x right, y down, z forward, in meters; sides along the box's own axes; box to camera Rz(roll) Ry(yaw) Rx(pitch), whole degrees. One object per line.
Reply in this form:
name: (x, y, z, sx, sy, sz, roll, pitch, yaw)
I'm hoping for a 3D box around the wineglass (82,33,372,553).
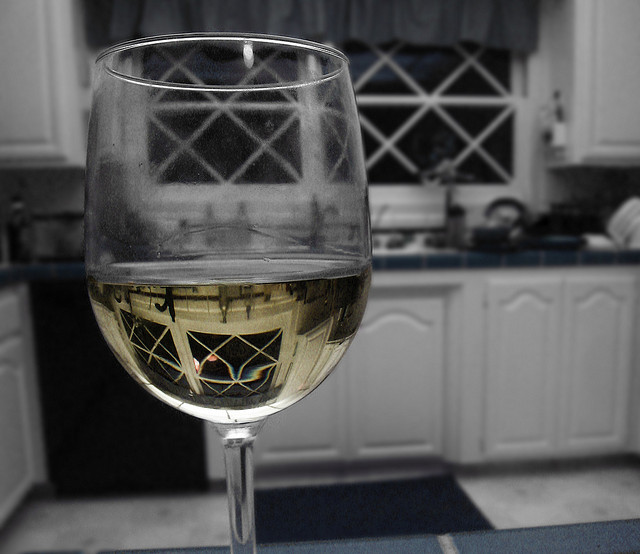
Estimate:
wineglass: (-0.038, 0.014, 0.276, 0.115, 0.212, 0.063, 0, 9, 5)
